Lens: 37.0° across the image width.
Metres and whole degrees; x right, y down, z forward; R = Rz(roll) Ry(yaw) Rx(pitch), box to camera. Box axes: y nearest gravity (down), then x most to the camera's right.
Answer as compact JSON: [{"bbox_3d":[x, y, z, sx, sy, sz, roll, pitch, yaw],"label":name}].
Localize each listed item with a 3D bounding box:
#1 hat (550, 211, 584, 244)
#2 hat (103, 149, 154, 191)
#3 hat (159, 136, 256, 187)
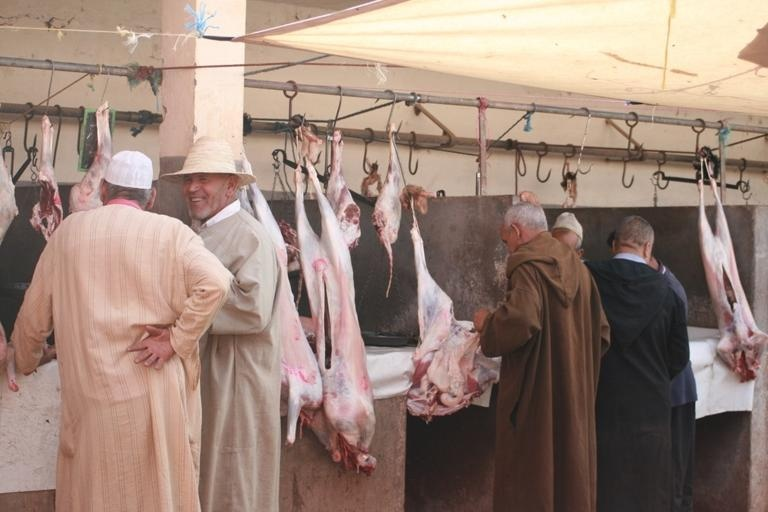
[{"bbox_3d":[1.324,-0.211,8.245,0.168,0.162,0.251,7,-11,14],"label":"hat"},{"bbox_3d":[-1.495,-0.516,6.702,0.197,0.161,0.266,8,11,-42],"label":"hat"},{"bbox_3d":[-1.031,-0.572,7.097,0.366,0.155,0.385,-3,-14,5],"label":"hat"}]
